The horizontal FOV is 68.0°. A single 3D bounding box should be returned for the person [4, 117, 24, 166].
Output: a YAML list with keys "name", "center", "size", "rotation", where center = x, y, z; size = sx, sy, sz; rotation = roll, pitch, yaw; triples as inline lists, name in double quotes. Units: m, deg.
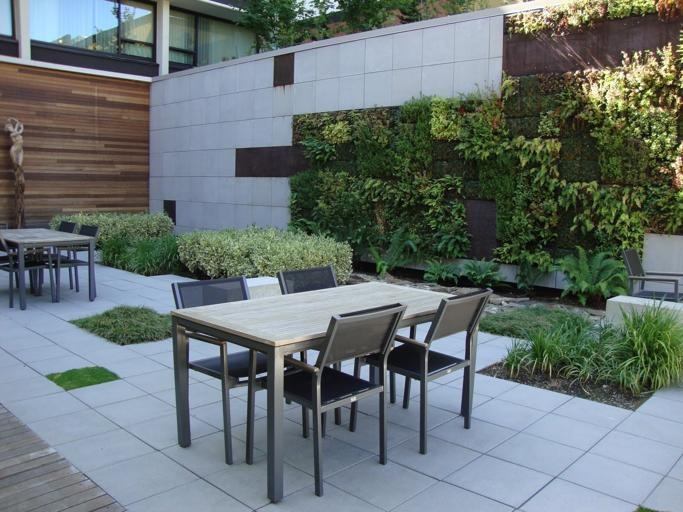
- name: "person"
  center: [-8.149, -2.822, 12.589]
  size: [0.388, 1.191, 0.475]
  rotation: [-6, 12, -32]

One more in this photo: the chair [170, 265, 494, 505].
- name: "chair"
  center: [-0.243, 0.828, 3.965]
  size: [1.252, 1.163, 1.788]
  rotation: [11, 13, 44]
